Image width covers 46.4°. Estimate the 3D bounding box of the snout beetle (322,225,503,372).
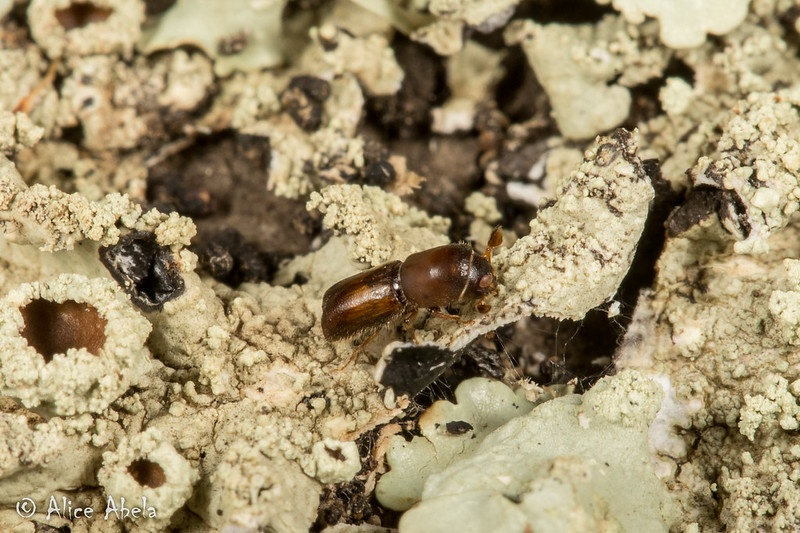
[{"bbox_3d":[0.024,0.196,5.654,1.066,0.402,0.667,-18,48,10],"label":"snout beetle"}]
